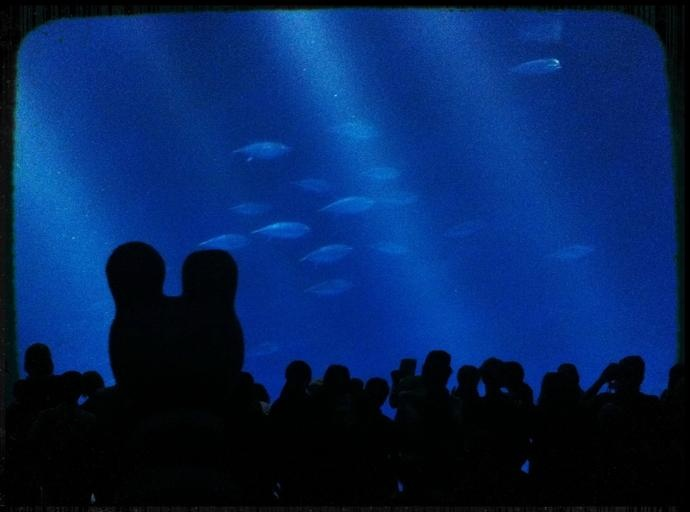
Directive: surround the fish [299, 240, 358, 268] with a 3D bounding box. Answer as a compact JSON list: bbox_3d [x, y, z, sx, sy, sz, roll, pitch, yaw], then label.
[{"bbox_3d":[-0.148,-0.031,11.568,0.583,0.271,0.429,-4,-11,-15],"label":"fish"}]
